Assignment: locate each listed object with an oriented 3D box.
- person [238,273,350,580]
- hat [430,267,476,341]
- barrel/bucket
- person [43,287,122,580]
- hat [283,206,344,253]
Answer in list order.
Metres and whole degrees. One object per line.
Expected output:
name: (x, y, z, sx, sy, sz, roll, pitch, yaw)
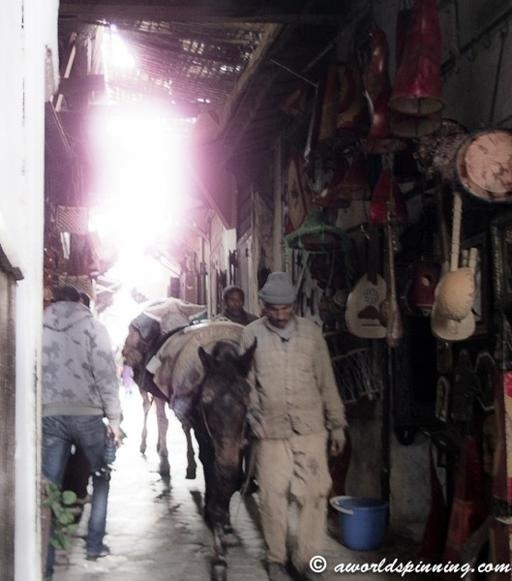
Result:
person: (0.222, 0.788, 4.148, 0.611, 1.762, 0.263, 0, -5, -3)
hat: (1.068, 0.083, 3.821, 0.146, 0.263, 0.326, 3, -50, 9)
barrel/bucket: (0.707, 1.567, 4.854, 0.306, 0.262, 0.302, -2, -7, 0)
person: (-1.077, 0.842, 4.396, 0.532, 1.747, 0.539, 2, -5, -27)
hat: (0.439, -0.471, 5.748, 0.329, 0.363, 0.553, 2, -7, -29)
